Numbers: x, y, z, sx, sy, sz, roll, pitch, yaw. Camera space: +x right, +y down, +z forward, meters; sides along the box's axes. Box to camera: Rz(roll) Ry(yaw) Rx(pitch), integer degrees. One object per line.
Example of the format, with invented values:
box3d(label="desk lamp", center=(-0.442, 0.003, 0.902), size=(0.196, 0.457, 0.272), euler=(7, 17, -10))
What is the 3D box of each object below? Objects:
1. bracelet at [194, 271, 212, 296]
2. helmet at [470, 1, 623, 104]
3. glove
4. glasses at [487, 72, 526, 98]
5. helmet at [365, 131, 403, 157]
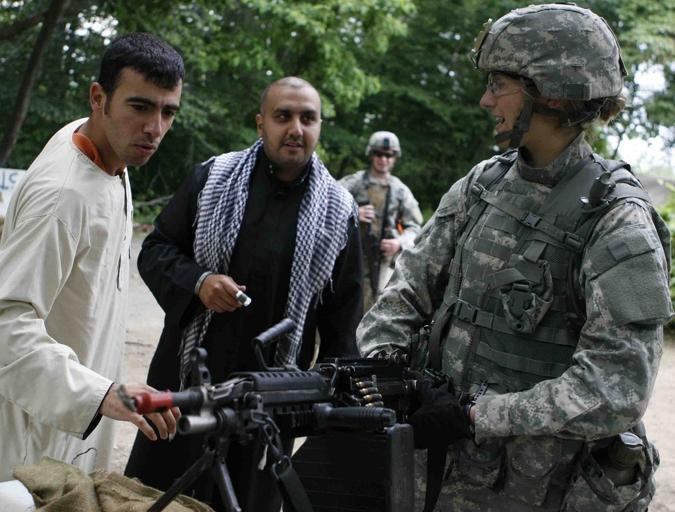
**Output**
box3d(label="bracelet", center=(-0.768, 0.153, 4.532), size=(0.044, 0.134, 0.091), euler=(16, 1, 32))
box3d(label="helmet", center=(1.041, -0.996, 3.908), size=(0.556, 0.378, 0.449), euler=(-5, 16, -1))
box3d(label="glove", center=(0.493, 0.768, 3.796), size=(0.255, 0.291, 0.120), euler=(8, -7, 12))
box3d(label="glasses", center=(0.826, -0.841, 3.954), size=(0.126, 0.071, 0.142), euler=(8, 7, -5))
box3d(label="helmet", center=(0.554, -1.378, 9.946), size=(0.359, 0.295, 0.400), euler=(2, 2, -7))
